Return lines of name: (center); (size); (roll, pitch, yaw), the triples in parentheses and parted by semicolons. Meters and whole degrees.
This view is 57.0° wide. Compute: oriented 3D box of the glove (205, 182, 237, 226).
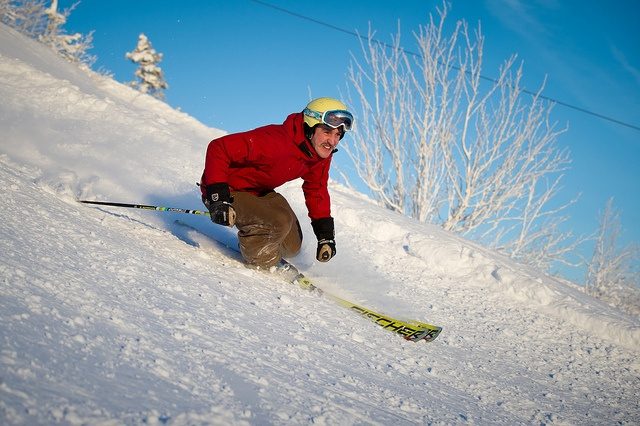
glove: (-0.994, -0.098, 6.151); (0.299, 0.436, 0.185); (-10, -2, 26)

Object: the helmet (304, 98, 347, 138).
helmet: (0.086, -1.082, 6.466); (0.538, 0.375, 0.512); (14, 11, 31)

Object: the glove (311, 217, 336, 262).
glove: (0.068, 0.315, 6.725); (0.299, 0.454, 0.200); (12, -21, -32)
